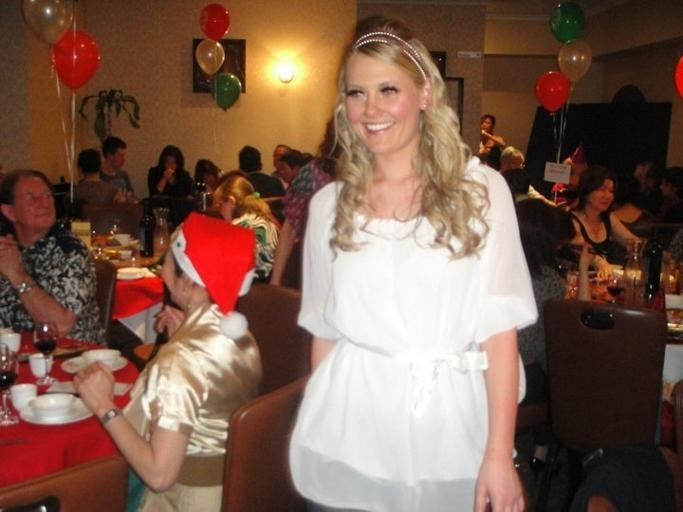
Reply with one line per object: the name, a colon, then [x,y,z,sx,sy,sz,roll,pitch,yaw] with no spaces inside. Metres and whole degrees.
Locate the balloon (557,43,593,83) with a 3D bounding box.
balloon: [2.615,-2.200,6.582,0.317,0.424,0.259,6,13,27]

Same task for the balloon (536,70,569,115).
balloon: [2.377,-1.836,6.563,0.346,0.419,0.448,6,13,28]

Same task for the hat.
hat: [-0.426,0.023,2.045,0.269,0.447,0.152,11,-33,-28]

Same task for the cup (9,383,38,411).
cup: [-1.196,0.522,2.206,0.094,0.087,0.078,4,3,30]

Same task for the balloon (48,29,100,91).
balloon: [-2.361,-1.733,5.222,0.376,0.522,0.342,-7,13,-28]

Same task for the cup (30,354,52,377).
cup: [-1.236,0.442,2.407,0.077,0.082,0.088,2,-7,-5]

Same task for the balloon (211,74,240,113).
balloon: [-1.514,-2.153,7.673,0.374,0.511,0.385,-4,7,-31]

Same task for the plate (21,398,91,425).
plate: [-1.031,0.577,2.126,0.125,0.021,0.136,10,8,18]

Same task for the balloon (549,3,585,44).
balloon: [2.557,-2.607,6.594,0.337,0.456,0.339,-1,12,-4]

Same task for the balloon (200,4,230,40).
balloon: [-1.580,-2.914,7.307,0.267,0.440,0.404,-9,15,-37]

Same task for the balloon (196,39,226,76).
balloon: [-1.652,-2.553,7.672,0.382,0.584,0.438,-1,1,-3]
